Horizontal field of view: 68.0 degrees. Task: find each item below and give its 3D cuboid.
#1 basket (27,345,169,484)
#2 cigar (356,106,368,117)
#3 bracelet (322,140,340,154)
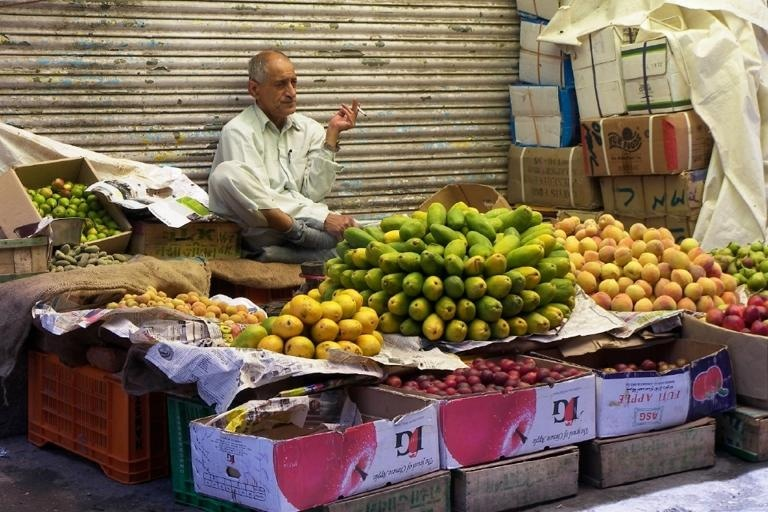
[{"bbox_3d":[-1.520,0.945,3.151,1.080,0.541,0.587,6,4,41],"label":"basket"},{"bbox_3d":[-0.218,-1.487,5.865,0.089,0.047,0.208,9,20,-23],"label":"cigar"},{"bbox_3d":[-0.517,-1.064,5.512,0.130,0.087,0.162,3,28,-2],"label":"bracelet"}]
